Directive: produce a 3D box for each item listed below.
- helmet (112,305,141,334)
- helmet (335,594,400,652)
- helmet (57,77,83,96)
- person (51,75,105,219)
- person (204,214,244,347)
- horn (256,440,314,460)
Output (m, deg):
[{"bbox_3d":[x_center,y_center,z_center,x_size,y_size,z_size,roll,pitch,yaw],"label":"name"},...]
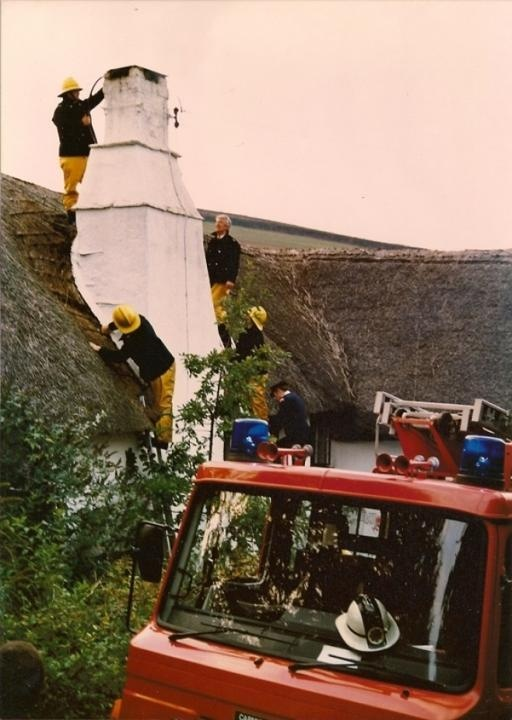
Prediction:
[{"bbox_3d":[-1.344,-0.409,6.678,0.320,0.245,0.129,45,15,23],"label":"helmet"},{"bbox_3d":[0.376,0.866,2.190,0.213,0.102,0.281,-8,2,-3],"label":"helmet"},{"bbox_3d":[-1.991,-2.894,6.838,0.191,0.199,0.194,-7,0,40],"label":"helmet"},{"bbox_3d":[-1.898,-2.308,6.930,0.631,1.470,0.272,-7,0,3],"label":"person"},{"bbox_3d":[-0.350,-1.048,7.108,0.402,1.379,0.230,-7,0,-2],"label":"person"},{"bbox_3d":[0.109,0.424,2.913,0.143,0.091,0.256,12,4,44],"label":"horn"}]
